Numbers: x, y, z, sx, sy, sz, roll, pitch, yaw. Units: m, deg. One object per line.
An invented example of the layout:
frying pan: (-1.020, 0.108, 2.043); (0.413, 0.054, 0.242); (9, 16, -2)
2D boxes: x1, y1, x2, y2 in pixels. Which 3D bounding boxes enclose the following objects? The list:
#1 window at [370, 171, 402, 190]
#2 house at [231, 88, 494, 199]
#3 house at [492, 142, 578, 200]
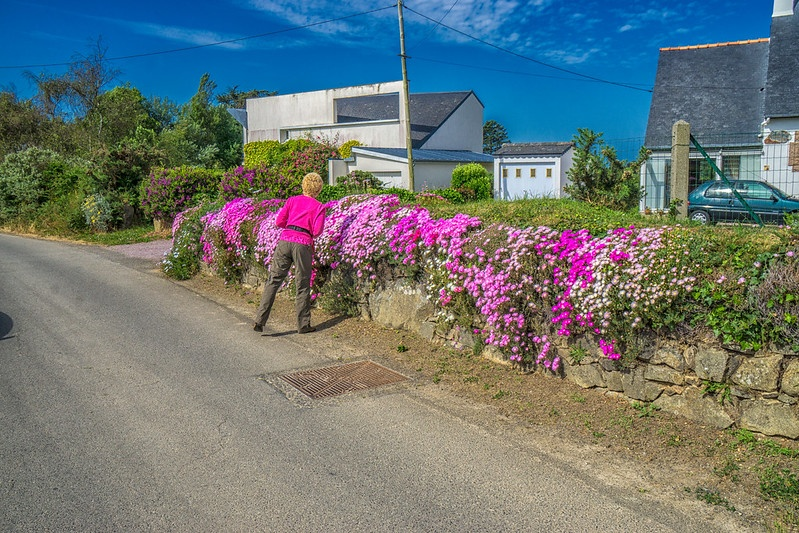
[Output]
window: (-0.556, -4.335, 28.679); (0.917, 0.740, 1.890); (-6, 13, -37)
house: (-0.870, -8.555, 37.312); (13.503, 6.241, 16.059); (-6, 13, -36)
house: (7.216, -4.837, 31.728); (3.456, 3.817, 2.776); (5, -1, 25)
